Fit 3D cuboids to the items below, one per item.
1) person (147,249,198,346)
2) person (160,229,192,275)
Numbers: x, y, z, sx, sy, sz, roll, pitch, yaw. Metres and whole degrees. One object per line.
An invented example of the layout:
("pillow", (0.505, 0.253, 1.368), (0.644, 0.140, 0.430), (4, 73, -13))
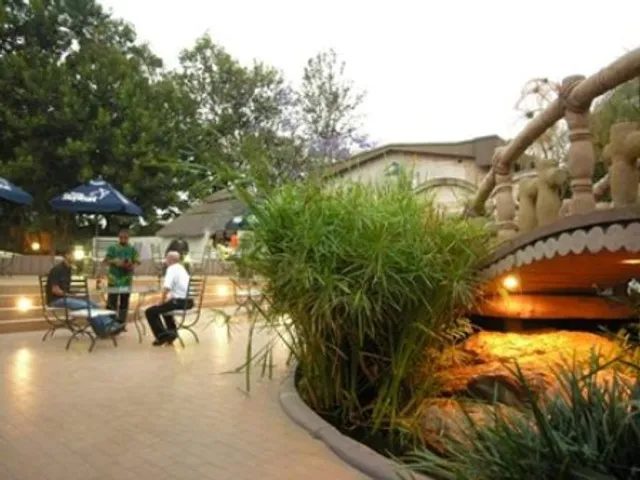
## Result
("person", (-2.813, 1.095, 8.104), (0.842, 1.845, 1.090), (6, -16, -21))
("person", (-4.965, 0.528, 14.545), (0.860, 1.226, 1.067), (13, 11, 38))
